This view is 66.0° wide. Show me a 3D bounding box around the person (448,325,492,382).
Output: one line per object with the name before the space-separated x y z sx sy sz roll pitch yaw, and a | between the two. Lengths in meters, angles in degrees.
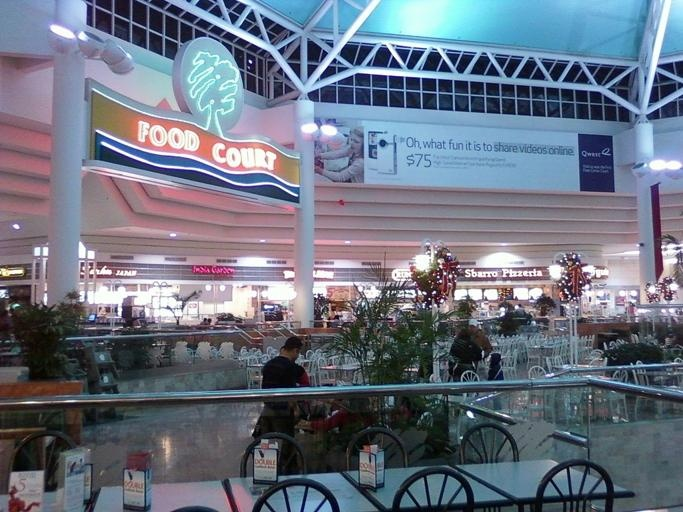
person | 1.963 1.474 7.785 0.638 0.995 0.524 -7 7 26

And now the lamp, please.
lamp | -4.027 -3.462 8.628 0.613 0.558 1.803 -2 0 19
